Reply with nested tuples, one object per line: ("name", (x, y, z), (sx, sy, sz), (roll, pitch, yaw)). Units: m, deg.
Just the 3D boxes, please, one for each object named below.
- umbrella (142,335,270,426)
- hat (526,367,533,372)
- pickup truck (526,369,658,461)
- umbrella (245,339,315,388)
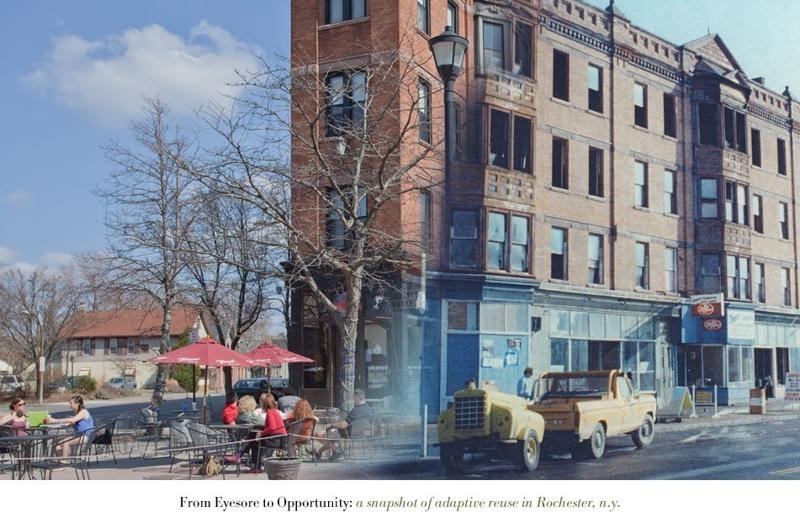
("umbrella", (-6.696, 3.608, 40.990), (3.861, 1.655, 3.646), (4, -8, -17))
("hat", (4.432, 3.916, 40.988), (0.172, 0.149, 0.145), (6, 1, 28))
("pickup truck", (6.157, 5.174, 39.564), (3.129, 2.651, 5.641), (-7, -6, 38))
("umbrella", (-4.609, 4.076, 41.989), (2.818, 2.148, 3.038), (-4, -13, 3))
